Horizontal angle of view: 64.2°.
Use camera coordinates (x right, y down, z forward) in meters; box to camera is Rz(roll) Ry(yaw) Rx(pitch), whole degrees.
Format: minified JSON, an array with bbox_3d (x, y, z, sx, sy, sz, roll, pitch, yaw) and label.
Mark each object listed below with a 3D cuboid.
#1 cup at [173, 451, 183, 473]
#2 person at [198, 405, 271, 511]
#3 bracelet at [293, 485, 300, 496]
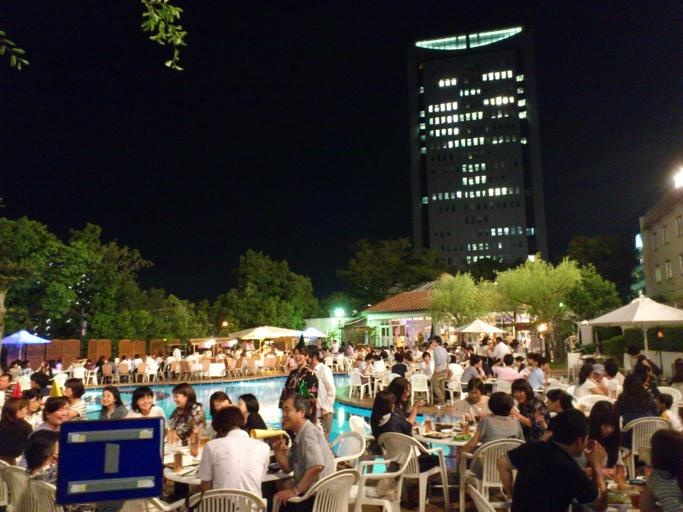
[{"bbox_3d":[-2.137,2.684,7.122,0.118,0.203,0.295,0,-12,-18],"label":"cup"},{"bbox_3d":[-1.260,2.515,6.303,0.718,1.451,0.745,7,-10,-12],"label":"person"},{"bbox_3d":[-0.514,2.703,6.264,0.022,0.074,0.051,-3,-24,41],"label":"bracelet"}]
